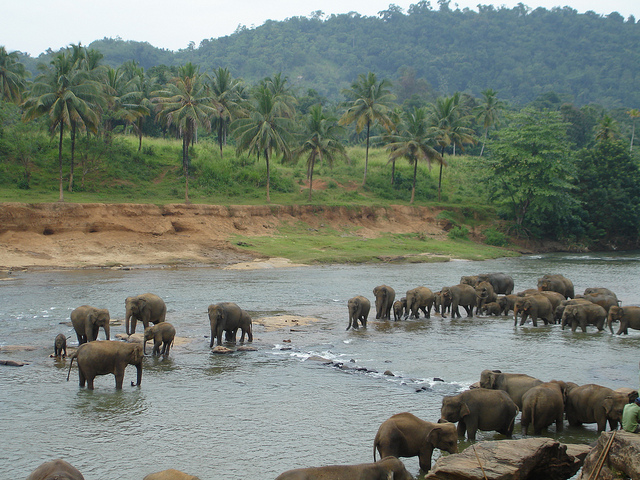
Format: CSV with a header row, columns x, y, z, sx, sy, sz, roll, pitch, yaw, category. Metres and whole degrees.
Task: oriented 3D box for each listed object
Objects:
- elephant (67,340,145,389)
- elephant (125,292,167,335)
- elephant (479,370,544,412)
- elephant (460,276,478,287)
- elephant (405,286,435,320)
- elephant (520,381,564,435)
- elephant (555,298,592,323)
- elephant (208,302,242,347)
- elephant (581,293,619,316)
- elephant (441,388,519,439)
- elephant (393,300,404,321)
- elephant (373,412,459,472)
x,y,z,sx,sy,sz,roll,pitch,yaw,category
-12.675,7.406,60.061,4.611,3.257,2.248,-1,2,-11,elephant
-11.331,4.890,64.863,1.412,2.710,3.440,2,0,38,elephant
11.232,8.840,59.781,3.916,2.238,1.710,3,-2,18,elephant
10.705,3.026,72.860,1.263,0.760,0.602,-1,-1,-40,elephant
6.768,4.461,70.123,2.930,2.234,1.232,0,2,-42,elephant
12.215,9.829,58.049,1.503,2.714,3.573,5,12,37,elephant
17.301,4.719,68.521,2.426,1.483,1.146,-7,-2,-7,elephant
-6.251,5.419,64.561,1.319,2.665,3.196,-4,-4,27,elephant
19.267,4.370,69.293,2.350,1.326,1.101,3,4,21,elephant
9.083,10.301,58.673,5.398,3.054,2.337,-2,3,-9,elephant
5.434,4.945,69.718,0.962,1.243,0.536,1,0,-44,elephant
5.601,11.391,58.217,5.318,3.309,2.289,0,-3,-5,elephant
